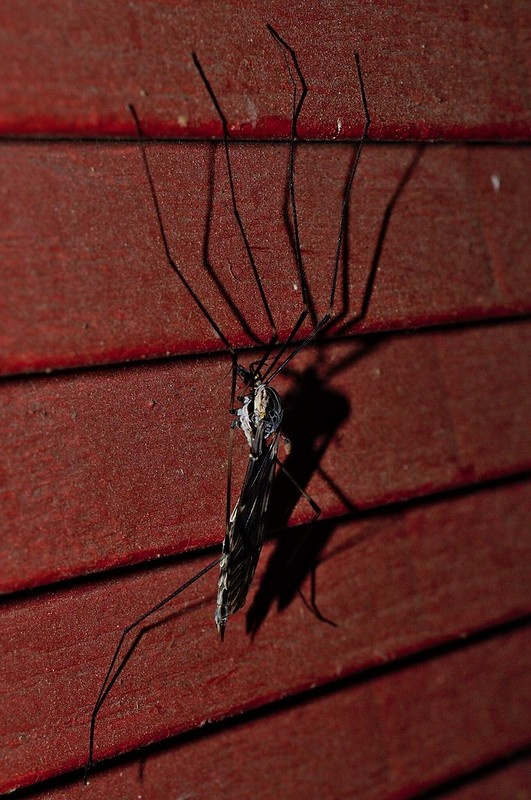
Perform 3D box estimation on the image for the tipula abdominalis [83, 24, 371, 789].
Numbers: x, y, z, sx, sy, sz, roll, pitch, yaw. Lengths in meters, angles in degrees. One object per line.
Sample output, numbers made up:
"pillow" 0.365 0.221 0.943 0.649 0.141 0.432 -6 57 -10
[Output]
"tipula abdominalis" -0.009 -0.050 1.314 0.580 0.125 1.265 1 89 -25
